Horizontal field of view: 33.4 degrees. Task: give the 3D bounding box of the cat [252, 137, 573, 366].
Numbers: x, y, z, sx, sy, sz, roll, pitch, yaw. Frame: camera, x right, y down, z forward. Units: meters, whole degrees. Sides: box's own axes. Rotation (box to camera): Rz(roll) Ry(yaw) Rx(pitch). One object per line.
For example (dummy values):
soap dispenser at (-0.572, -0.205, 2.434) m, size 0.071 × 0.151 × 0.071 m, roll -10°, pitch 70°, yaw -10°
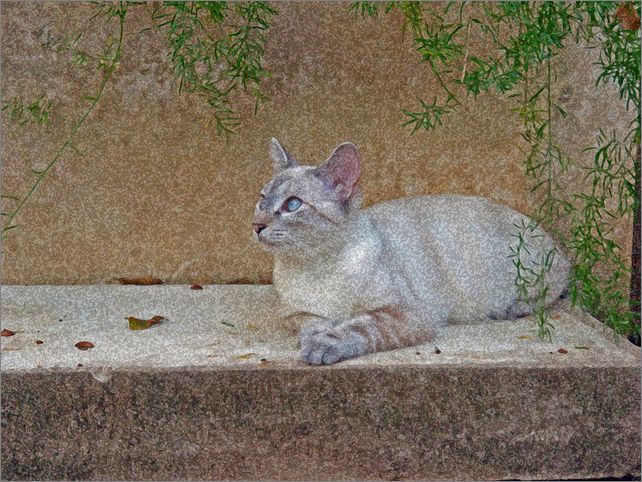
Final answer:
cat at (0.264, -0.027, 3.413) m, size 1.149 × 0.640 × 0.591 m, roll -9°, pitch 102°, yaw -36°
